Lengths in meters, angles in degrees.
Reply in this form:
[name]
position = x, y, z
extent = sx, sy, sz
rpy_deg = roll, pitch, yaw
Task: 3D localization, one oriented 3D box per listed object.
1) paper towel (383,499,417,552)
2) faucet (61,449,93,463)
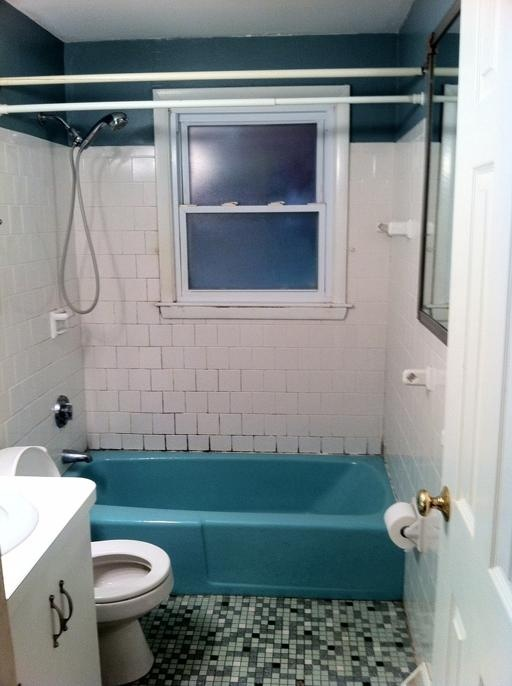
[paper towel]
position = 0.539, 0.698, 2.175
extent = 0.105, 0.153, 0.133
rpy_deg = 0, 10, 7
[faucet]
position = -0.963, 0.621, 3.144
extent = 0.124, 0.074, 0.082
rpy_deg = 1, 4, 0
